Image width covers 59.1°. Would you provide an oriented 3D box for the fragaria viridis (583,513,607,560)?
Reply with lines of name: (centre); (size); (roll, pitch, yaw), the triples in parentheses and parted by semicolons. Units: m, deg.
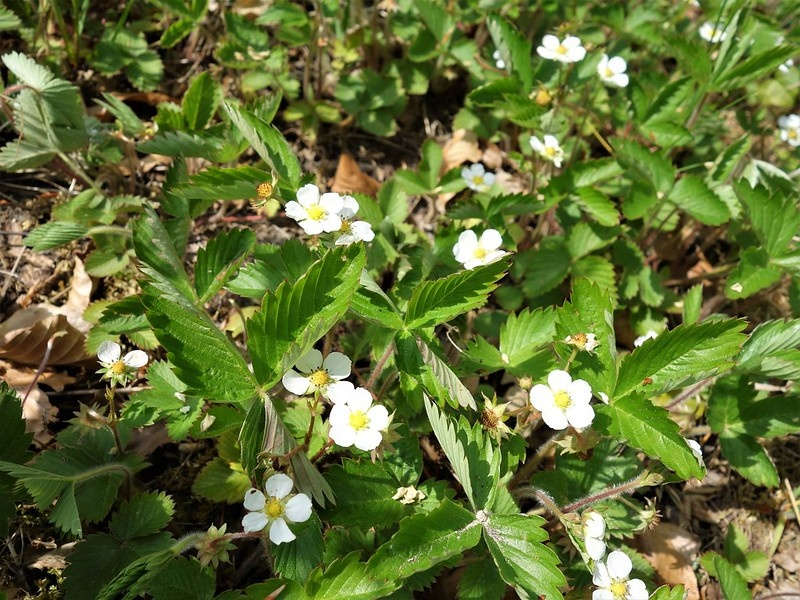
fragaria viridis: (0.946, 1.171, 3.485); (0.125, 0.050, 0.218); (-10, 89, -32)
